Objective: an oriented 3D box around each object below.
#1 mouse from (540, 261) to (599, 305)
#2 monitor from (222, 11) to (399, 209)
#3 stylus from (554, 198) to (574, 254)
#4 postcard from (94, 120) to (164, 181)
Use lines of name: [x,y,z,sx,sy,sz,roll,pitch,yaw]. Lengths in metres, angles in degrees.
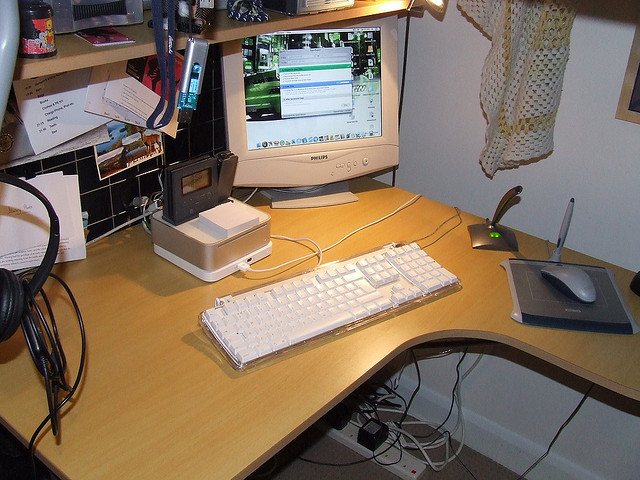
mouse: [0.653,0.102,1.297,0.086,0.055,0.169,-7,31,-18]
monitor: [-0.037,-0.414,1.463,0.441,0.477,0.283,-15,44,-20]
stylus: [0.741,-0.048,1.472,0.021,0.176,0.029,11,22,-3]
postcard: [-0.532,-0.254,1.335,0.009,0.135,0.129,35,56,28]
